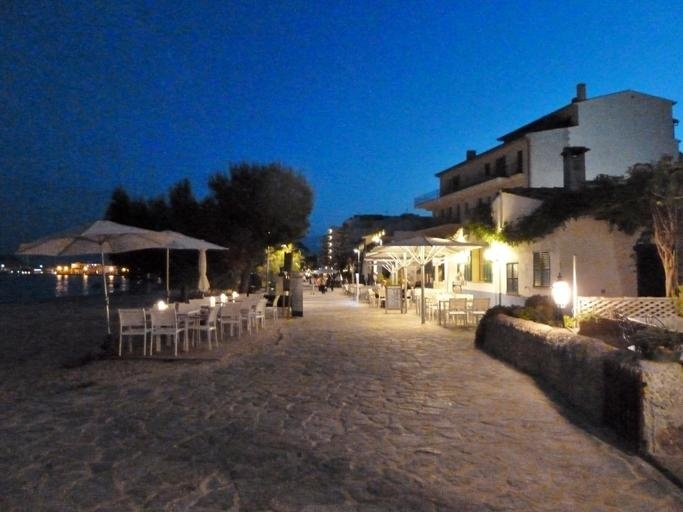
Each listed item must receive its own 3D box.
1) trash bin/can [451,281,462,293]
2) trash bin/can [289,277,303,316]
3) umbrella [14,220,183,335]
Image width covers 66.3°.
[{"bbox_3d":[4.830,1.282,21.833,0.454,0.486,0.273,-1,-5,4],"label":"trash bin/can"},{"bbox_3d":[-1.590,1.361,18.464,0.414,1.450,0.542,-1,5,-13],"label":"trash bin/can"},{"bbox_3d":[-11.200,1.227,24.970,4.785,3.875,5.257,0,-5,-22],"label":"umbrella"}]
